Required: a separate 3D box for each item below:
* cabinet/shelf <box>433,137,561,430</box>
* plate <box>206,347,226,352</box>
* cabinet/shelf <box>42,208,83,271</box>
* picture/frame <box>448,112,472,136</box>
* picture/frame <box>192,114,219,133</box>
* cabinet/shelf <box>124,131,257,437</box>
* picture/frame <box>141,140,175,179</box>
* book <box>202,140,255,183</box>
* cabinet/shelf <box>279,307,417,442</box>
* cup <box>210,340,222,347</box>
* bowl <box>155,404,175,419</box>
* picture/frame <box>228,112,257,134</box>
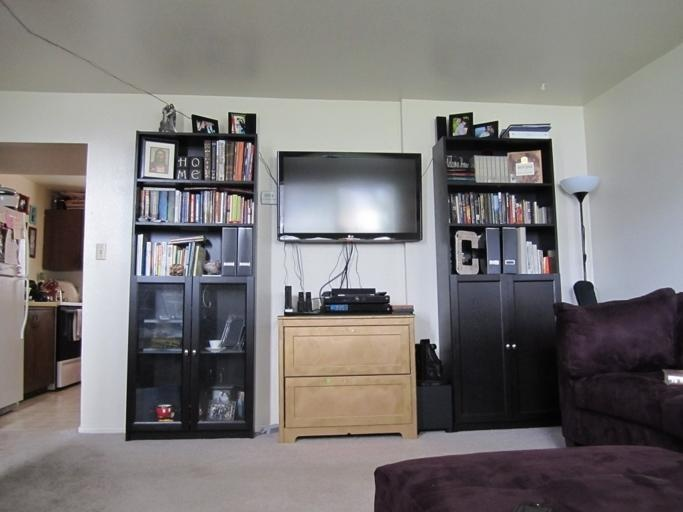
[{"bbox_3d":[1.385,0.214,4.651,0.918,2.301,0.340,-1,-6,7],"label":"cabinet/shelf"},{"bbox_3d":[-1.005,0.751,4.343,0.151,0.044,0.013,-1,0,-10],"label":"plate"},{"bbox_3d":[-3.698,-0.217,7.214,0.488,0.832,0.124,-1,0,-9],"label":"cabinet/shelf"},{"bbox_3d":[1.035,-1.138,4.734,0.210,0.223,0.021,-3,-5,11],"label":"picture/frame"},{"bbox_3d":[-1.159,-1.116,4.595,0.194,0.191,0.105,3,-21,-35],"label":"picture/frame"},{"bbox_3d":[-1.225,0.252,4.533,0.951,2.330,0.486,1,-5,-14],"label":"cabinet/shelf"},{"bbox_3d":[-1.514,-0.778,4.443,0.294,0.391,0.040,3,-10,-21],"label":"picture/frame"},{"bbox_3d":[-0.917,-0.768,4.570,0.442,0.457,0.335,0,1,-2],"label":"book"},{"bbox_3d":[0.039,0.964,4.242,0.857,0.789,0.339,-1,-11,-3],"label":"cabinet/shelf"},{"bbox_3d":[-1.013,0.705,4.350,0.057,0.041,0.058,-1,-13,0],"label":"cup"},{"bbox_3d":[-1.389,1.228,4.276,0.125,0.097,0.097,5,-11,-11],"label":"bowl"},{"bbox_3d":[-0.836,-1.121,4.598,0.232,0.189,0.065,-1,0,-19],"label":"picture/frame"}]
